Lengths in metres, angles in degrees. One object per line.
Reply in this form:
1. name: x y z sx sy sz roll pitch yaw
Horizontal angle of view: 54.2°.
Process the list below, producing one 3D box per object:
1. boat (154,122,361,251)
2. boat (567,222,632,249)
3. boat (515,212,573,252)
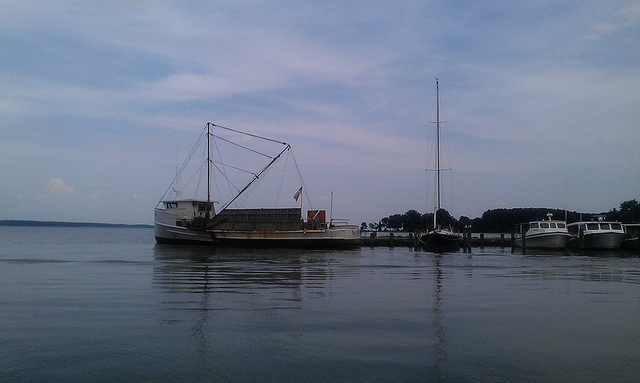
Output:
1. boat: -7.223 0.102 63.966 18.326 11.610 7.862 -2 -7 29
2. boat: 28.577 4.502 65.441 3.482 2.867 6.489 6 -7 -34
3. boat: 24.255 4.601 65.693 2.583 3.278 5.029 4 -6 -14
